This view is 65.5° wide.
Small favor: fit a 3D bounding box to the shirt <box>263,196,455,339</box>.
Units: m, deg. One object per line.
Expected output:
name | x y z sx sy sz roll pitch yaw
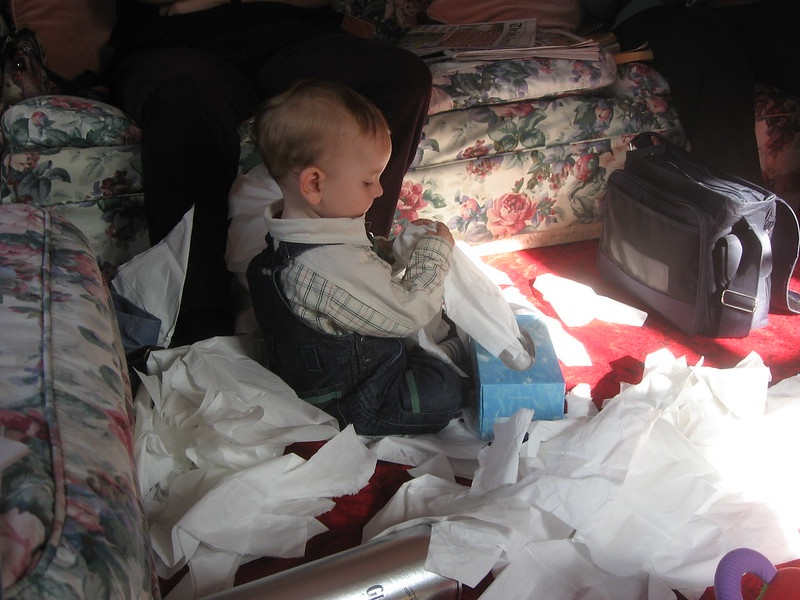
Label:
shirt | -0.079 -0.077 1.281 0.400 0.250 0.408 -13 26 -11
